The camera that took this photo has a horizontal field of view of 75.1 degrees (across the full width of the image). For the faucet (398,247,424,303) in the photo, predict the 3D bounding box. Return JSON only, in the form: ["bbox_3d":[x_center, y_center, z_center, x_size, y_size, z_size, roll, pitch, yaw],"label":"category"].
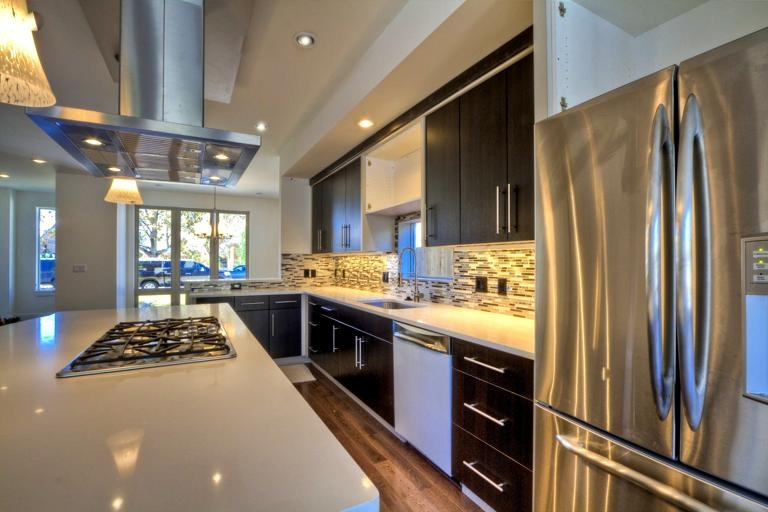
[{"bbox_3d":[0.220,0.169,4.343,0.215,0.483,0.105,-1,4,-15],"label":"faucet"}]

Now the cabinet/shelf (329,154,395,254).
[{"bbox_3d":[-0.351,-0.447,5.075,0.342,0.868,0.938,0,-1,-35],"label":"cabinet/shelf"}]

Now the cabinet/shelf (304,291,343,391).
[{"bbox_3d":[-0.567,0.823,4.799,0.391,0.771,0.787,1,-2,-21],"label":"cabinet/shelf"}]

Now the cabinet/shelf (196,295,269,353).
[{"bbox_3d":[-1.511,0.711,5.371,0.383,0.644,0.721,-7,-14,3],"label":"cabinet/shelf"}]

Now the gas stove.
[{"bbox_3d":[-1.150,0.428,2.591,0.745,0.095,0.760,-1,13,-16],"label":"gas stove"}]

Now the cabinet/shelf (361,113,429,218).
[{"bbox_3d":[0.088,-0.770,4.201,0.254,0.488,0.778,3,-5,-29],"label":"cabinet/shelf"}]

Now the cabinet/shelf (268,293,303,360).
[{"bbox_3d":[-1.062,0.749,5.428,0.388,0.633,0.256,-3,14,-23],"label":"cabinet/shelf"}]
